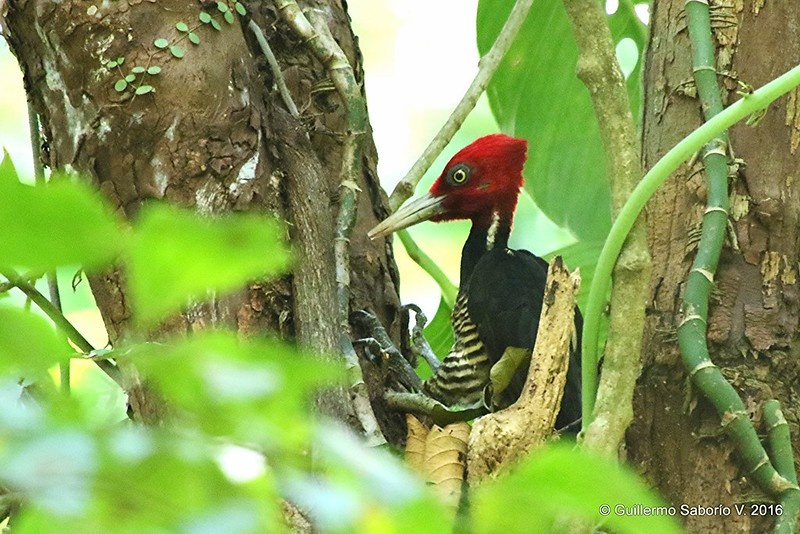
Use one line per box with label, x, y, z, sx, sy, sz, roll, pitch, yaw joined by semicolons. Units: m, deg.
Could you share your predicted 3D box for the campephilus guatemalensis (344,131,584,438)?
campephilus guatemalensis;0.179;0.014;3.175;0.460;0.636;0.907;2;5;6
